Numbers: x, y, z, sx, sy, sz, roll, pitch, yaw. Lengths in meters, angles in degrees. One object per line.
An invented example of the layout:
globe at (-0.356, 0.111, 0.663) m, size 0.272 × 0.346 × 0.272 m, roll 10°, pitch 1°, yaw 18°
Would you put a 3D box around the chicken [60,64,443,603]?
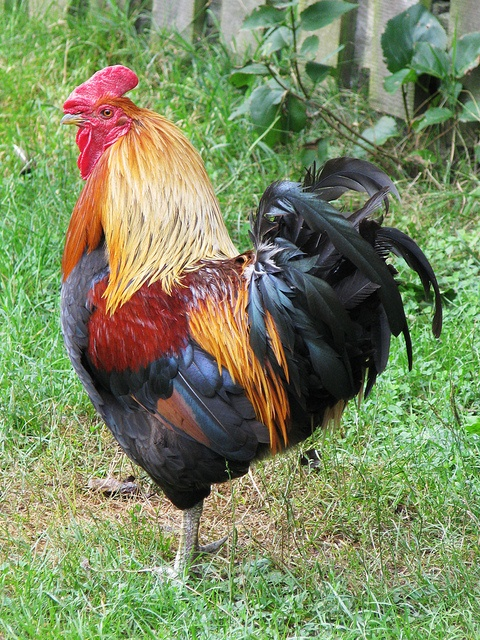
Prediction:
chicken at (-0.091, 0.051, 2.299) m, size 1.232 × 1.844 × 0.725 m, roll 12°, pitch 28°, yaw 39°
